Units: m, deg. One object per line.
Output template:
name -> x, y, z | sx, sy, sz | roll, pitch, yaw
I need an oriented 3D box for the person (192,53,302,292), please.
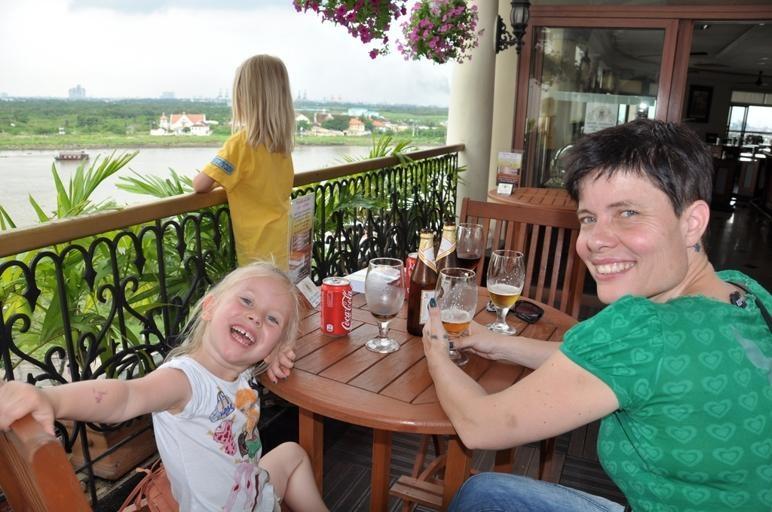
person -> -0.809, -0.524, 2.888 | 0.352, 1.339, 0.787 | 2, 14, 11

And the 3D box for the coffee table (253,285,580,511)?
coffee table -> 0.128, 0.556, 1.770 | 0.742, 0.886, 0.820 | 11, 24, 27
